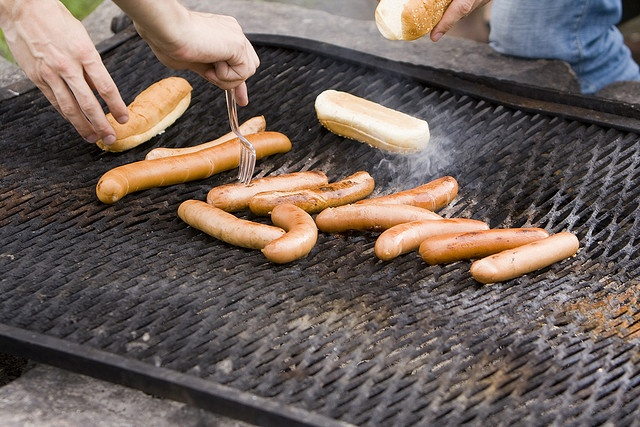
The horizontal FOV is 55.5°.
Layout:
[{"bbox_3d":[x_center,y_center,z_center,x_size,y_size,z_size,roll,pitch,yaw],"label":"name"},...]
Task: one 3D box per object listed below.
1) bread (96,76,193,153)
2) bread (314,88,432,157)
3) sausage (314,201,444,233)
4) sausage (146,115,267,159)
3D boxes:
[{"bbox_3d":[-1.108,-0.671,3.981,0.724,0.220,0.315,-32,55,-22],"label":"bread"},{"bbox_3d":[0.315,-0.606,3.975,0.794,0.188,0.336,21,43,14],"label":"bread"},{"bbox_3d":[0.261,-0.054,3.418,0.714,0.157,0.152,-2,85,-3],"label":"sausage"},{"bbox_3d":[-0.743,-0.482,3.911,0.745,0.106,0.160,-13,37,-9],"label":"sausage"}]
